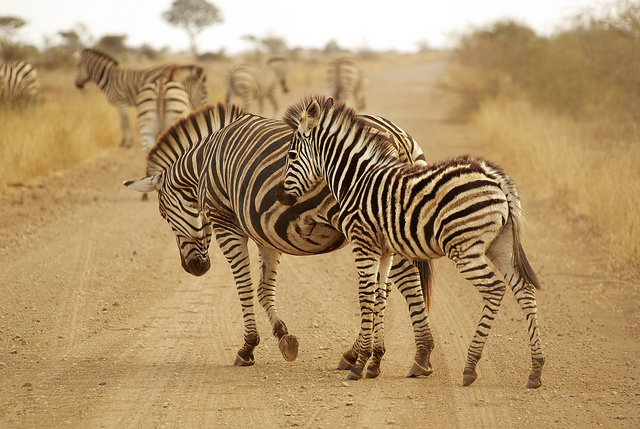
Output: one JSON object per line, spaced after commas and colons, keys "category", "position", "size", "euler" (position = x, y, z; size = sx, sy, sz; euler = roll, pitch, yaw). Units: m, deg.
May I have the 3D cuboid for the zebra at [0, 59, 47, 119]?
{"category": "zebra", "position": [-5.223, -2.196, 15.023], "size": [0.400, 1.039, 1.133], "euler": [7, 16, 15]}

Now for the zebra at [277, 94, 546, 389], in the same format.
{"category": "zebra", "position": [0.960, 0.295, 10.820], "size": [3.662, 3.369, 1.099], "euler": [5, 1, 31]}

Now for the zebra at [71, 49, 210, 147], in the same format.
{"category": "zebra", "position": [-3.411, -2.646, 18.619], "size": [0.866, 2.507, 3.929], "euler": [12, 20, 41]}

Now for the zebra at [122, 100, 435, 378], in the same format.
{"category": "zebra", "position": [-0.548, 0.390, 11.412], "size": [4.674, 3.528, 1.449], "euler": [-4, -2, 38]}

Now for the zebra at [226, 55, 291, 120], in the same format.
{"category": "zebra", "position": [-1.704, -3.463, 23.759], "size": [0.875, 1.932, 3.167], "euler": [4, 13, 31]}
